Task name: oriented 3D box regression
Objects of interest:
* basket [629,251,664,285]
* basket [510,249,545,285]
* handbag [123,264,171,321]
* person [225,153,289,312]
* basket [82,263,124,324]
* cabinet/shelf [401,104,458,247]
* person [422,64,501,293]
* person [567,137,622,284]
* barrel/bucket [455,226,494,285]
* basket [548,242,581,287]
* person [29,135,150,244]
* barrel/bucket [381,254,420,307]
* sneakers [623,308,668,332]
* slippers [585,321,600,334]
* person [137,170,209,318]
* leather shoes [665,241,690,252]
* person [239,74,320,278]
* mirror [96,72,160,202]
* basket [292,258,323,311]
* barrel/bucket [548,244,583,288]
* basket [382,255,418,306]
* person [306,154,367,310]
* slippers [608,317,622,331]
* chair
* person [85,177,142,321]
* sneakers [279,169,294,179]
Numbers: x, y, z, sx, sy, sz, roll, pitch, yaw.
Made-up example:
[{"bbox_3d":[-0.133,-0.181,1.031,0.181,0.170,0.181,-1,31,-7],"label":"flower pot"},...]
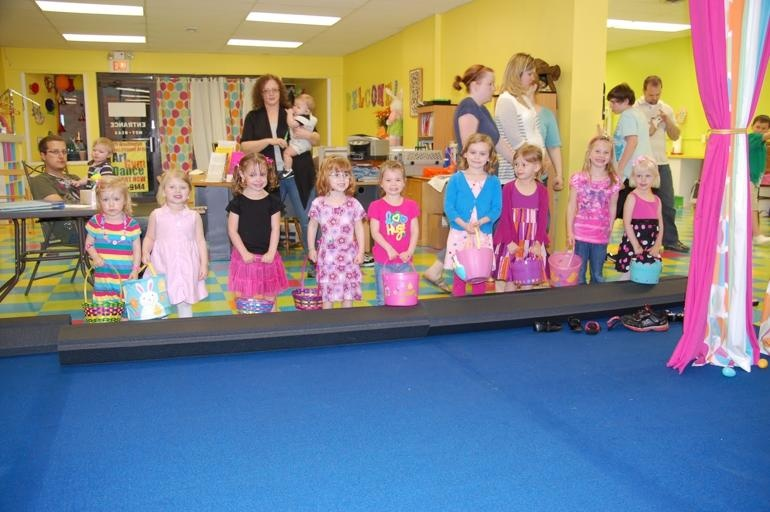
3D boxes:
[{"bbox_3d":[1.609,0.077,3.554,0.225,0.204,0.223,1,-2,-7],"label":"basket"},{"bbox_3d":[0.936,0.084,3.817,0.206,0.190,0.201,-1,-1,0],"label":"basket"},{"bbox_3d":[-1.278,0.182,3.108,0.259,0.328,0.229,-4,9,-26],"label":"handbag"},{"bbox_3d":[-0.802,-0.093,3.717,0.387,1.067,0.336,-2,21,-14],"label":"person"},{"bbox_3d":[-1.483,0.204,3.060,0.216,0.297,0.212,0,-3,-28],"label":"basket"},{"bbox_3d":[0.561,-0.990,7.208,0.604,1.617,0.956,-5,11,-20],"label":"cabinet/shelf"},{"bbox_3d":[0.715,-0.573,4.112,0.504,1.499,0.483,-2,-2,33],"label":"person"},{"bbox_3d":[1.465,-0.307,4.089,0.308,1.042,0.576,5,13,33],"label":"person"},{"bbox_3d":[0.562,-0.010,3.696,0.232,0.298,0.380,-1,11,9],"label":"barrel/bucket"},{"bbox_3d":[1.164,0.095,3.788,0.196,0.219,0.314,3,12,25],"label":"basket"},{"bbox_3d":[-2.813,-0.644,5.297,0.654,0.894,0.575,-3,5,9],"label":"person"},{"bbox_3d":[0.087,0.123,3.149,0.183,0.304,0.215,-9,-10,43],"label":"barrel/bucket"},{"bbox_3d":[1.358,0.327,3.058,0.236,0.108,0.116,1,5,-2],"label":"sneakers"},{"bbox_3d":[1.056,0.362,2.959,0.068,0.051,0.077,-2,10,-1],"label":"slippers"},{"bbox_3d":[-1.281,-0.028,3.565,0.400,0.981,0.322,0,19,-17],"label":"person"},{"bbox_3d":[3.180,-0.104,6.222,0.304,0.136,0.108,2,5,32],"label":"leather shoes"},{"bbox_3d":[-0.882,-0.661,5.073,0.583,1.695,0.494,-5,25,0],"label":"person"},{"bbox_3d":[-5.162,-2.252,11.617,1.229,2.616,0.195,1,-5,-21],"label":"mirror"},{"bbox_3d":[-0.427,0.195,3.404,0.152,0.203,0.148,22,-29,-38],"label":"basket"},{"bbox_3d":[1.187,0.109,3.814,0.226,0.185,0.235,-5,20,2],"label":"barrel/bucket"},{"bbox_3d":[0.087,0.114,3.144,0.219,0.305,0.183,-1,-1,-30],"label":"basket"},{"bbox_3d":[-0.303,-0.124,3.643,0.353,0.985,0.422,-3,11,-3],"label":"person"},{"bbox_3d":[1.191,0.346,3.014,0.042,0.049,0.121,-19,1,37],"label":"slippers"},{"bbox_3d":[-2.975,-0.368,5.256,0.566,0.813,0.557,8,-11,-35],"label":"chair"},{"bbox_3d":[-1.681,-0.029,3.615,0.327,0.903,0.281,1,23,-18],"label":"person"},{"bbox_3d":[-0.838,-0.713,4.993,0.143,0.060,0.051,-5,9,-22],"label":"sneakers"}]
